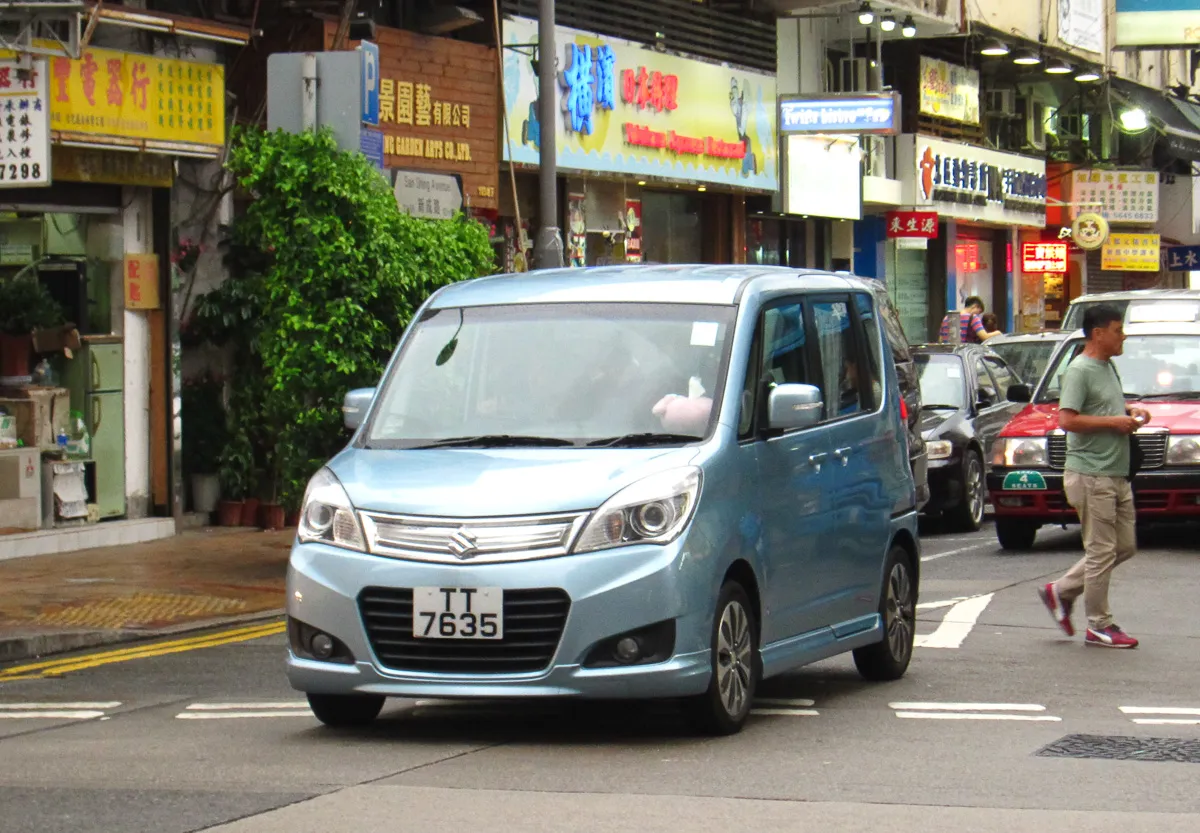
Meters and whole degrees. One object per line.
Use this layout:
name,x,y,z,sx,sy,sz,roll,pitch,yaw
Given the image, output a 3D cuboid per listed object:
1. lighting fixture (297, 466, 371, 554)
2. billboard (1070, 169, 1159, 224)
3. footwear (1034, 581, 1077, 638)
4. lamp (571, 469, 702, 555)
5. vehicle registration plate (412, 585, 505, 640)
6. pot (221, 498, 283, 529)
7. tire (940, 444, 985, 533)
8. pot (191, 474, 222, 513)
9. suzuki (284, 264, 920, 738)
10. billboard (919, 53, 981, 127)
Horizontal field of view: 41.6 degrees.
lighting fixture,-1.453,0.532,8.606,0.378,0.486,0.288,9,16,31
billboard,14.689,-6.471,44.750,2.350,1.510,1.310,6,28,29
footwear,3.329,1.386,11.605,0.207,0.482,0.160,-27,13,0
lamp,0.218,0.493,8.264,0.728,0.392,0.140,-3,4,-24
vehicle registration plate,-0.734,1.024,8.214,0.486,0.271,0.049,-1,4,13
pot,-4.074,1.134,18.526,0.864,0.339,0.224,-1,4,16
tire,4.147,0.813,18.212,0.299,0.994,0.935,0,2,28
pot,-4.625,0.892,18.632,0.391,0.469,0.400,1,-4,0
suzuki,0.139,0.395,9.081,2.073,2.440,5.275,0,1,16
billboard,8.163,-7.589,36.959,0.083,1.389,3.475,2,5,35
